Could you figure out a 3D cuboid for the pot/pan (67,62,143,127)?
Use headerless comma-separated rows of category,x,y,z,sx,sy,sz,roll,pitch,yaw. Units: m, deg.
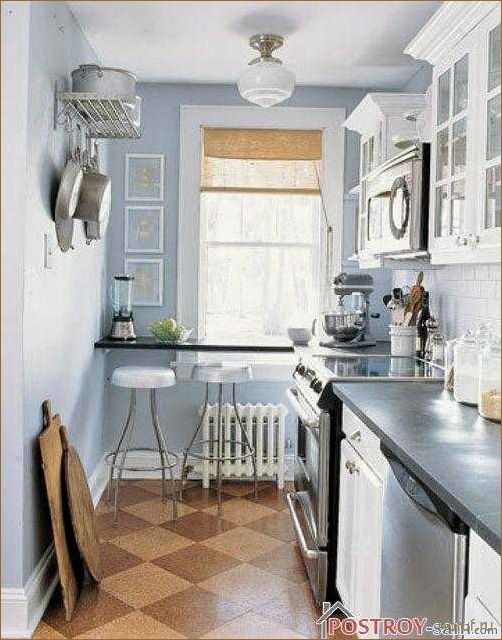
pot/pan,-0.635,-1.007,2.554,0.229,0.338,0.386,3,10,-5

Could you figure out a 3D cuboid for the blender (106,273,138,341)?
blender,-0.815,-0.061,3.602,0.158,0.409,0.145,1,-5,4

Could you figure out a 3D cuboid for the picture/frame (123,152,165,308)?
picture/frame,-0.695,-0.562,3.720,0.264,0.964,0.048,1,3,5

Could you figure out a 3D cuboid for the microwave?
microwave,0.649,-0.453,2.440,0.165,0.401,0.555,2,2,-6

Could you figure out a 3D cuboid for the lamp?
lamp,0.086,-1.248,2.912,0.271,0.337,0.381,1,3,9

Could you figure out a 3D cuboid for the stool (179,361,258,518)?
stool,-0.204,0.606,3.384,0.342,0.934,0.406,3,7,-2

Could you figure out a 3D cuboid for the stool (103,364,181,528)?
stool,-0.616,0.687,3.265,0.349,0.863,0.373,-2,9,-28
